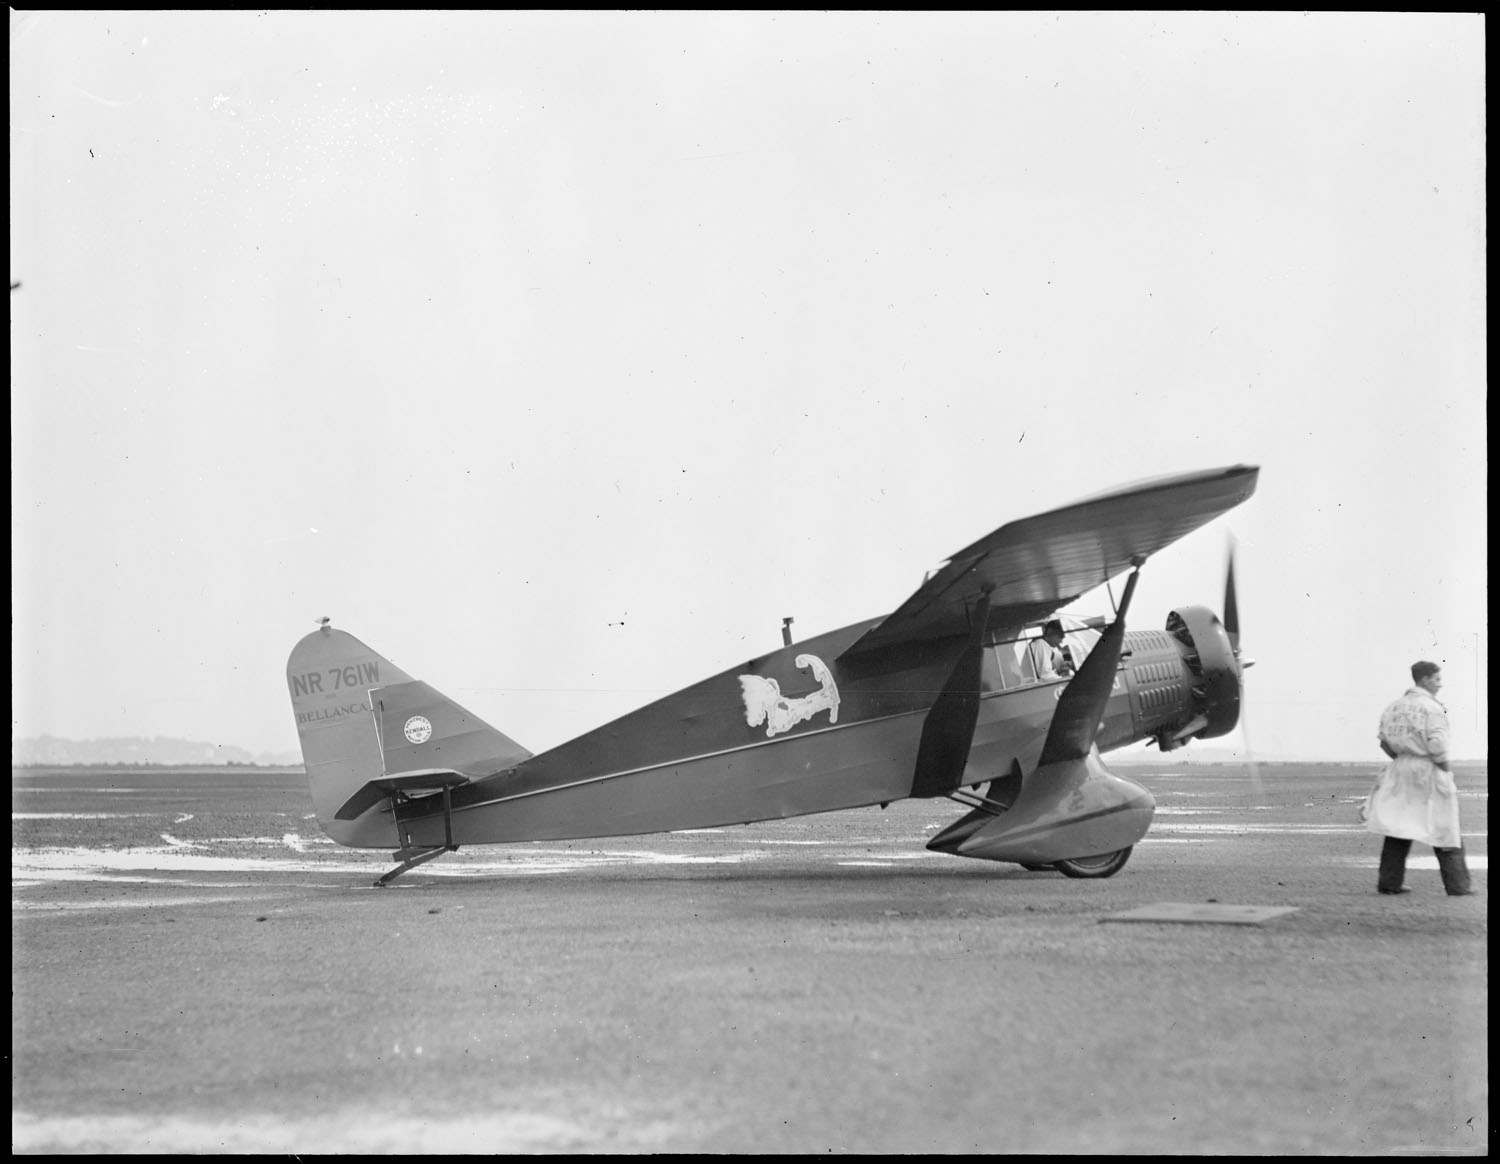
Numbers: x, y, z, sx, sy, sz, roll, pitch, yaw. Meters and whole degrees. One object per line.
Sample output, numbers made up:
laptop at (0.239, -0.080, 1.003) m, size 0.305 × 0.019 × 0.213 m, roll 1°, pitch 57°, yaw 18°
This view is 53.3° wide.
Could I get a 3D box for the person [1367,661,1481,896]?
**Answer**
person at (4.827, 1.397, 10.774) m, size 0.689 × 1.656 × 0.585 m, roll -1°, pitch 3°, yaw 23°
